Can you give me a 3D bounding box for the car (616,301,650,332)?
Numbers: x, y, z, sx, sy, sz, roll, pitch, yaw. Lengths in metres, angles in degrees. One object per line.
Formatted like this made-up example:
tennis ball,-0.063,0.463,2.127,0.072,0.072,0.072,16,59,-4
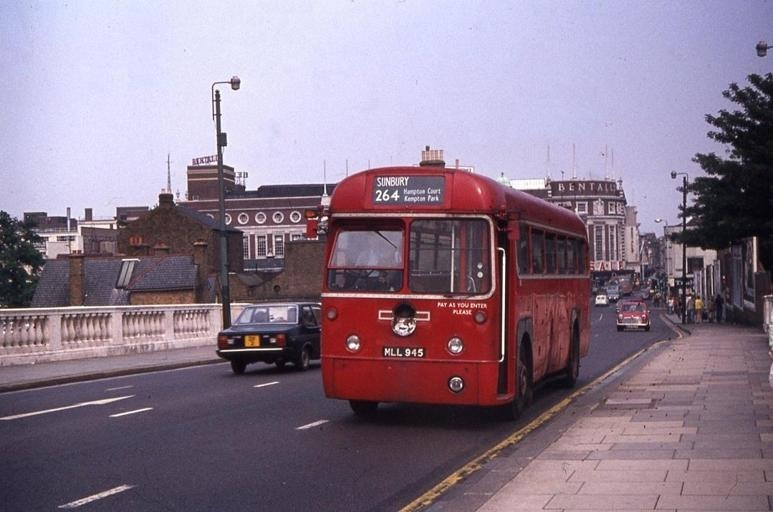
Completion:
car,15.473,3.807,50.760,1.924,1.798,2.510,-3,-4,15
